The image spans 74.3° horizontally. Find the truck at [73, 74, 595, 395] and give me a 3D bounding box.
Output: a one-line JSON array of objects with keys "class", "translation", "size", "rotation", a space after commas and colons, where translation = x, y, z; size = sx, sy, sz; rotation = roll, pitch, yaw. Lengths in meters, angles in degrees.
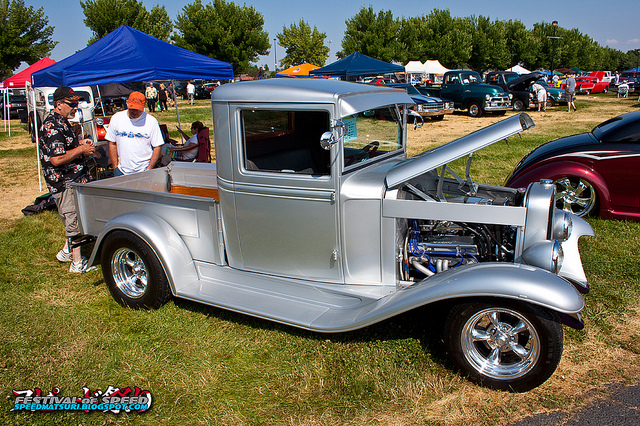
[{"class": "truck", "translation": [-0.198, -0.033, 5.608], "size": [6.235, 2.691, 3.136], "rotation": [6, 18, 22]}]

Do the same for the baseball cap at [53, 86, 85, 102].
[{"class": "baseball cap", "translation": [-3.651, -1.723, 6.196], "size": [0.404, 0.216, 0.257], "rotation": [-7, 13, -23]}]

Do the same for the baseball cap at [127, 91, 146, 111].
[{"class": "baseball cap", "translation": [-2.870, -1.766, 6.613], "size": [0.215, 0.164, 0.320], "rotation": [8, 36, -37]}]

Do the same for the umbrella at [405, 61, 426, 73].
[{"class": "umbrella", "translation": [8.002, -12.248, 35.795], "size": [2.065, 0.912, 2.119], "rotation": [3, 13, 16]}]

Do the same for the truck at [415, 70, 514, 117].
[{"class": "truck", "translation": [7.811, -6.395, 22.538], "size": [2.317, 2.292, 5.492], "rotation": [-14, 22, -38]}]

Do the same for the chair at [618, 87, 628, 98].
[{"class": "chair", "translation": [21.225, -8.418, 29.738], "size": [0.554, 0.716, 0.698], "rotation": [-4, -2, -38]}]
